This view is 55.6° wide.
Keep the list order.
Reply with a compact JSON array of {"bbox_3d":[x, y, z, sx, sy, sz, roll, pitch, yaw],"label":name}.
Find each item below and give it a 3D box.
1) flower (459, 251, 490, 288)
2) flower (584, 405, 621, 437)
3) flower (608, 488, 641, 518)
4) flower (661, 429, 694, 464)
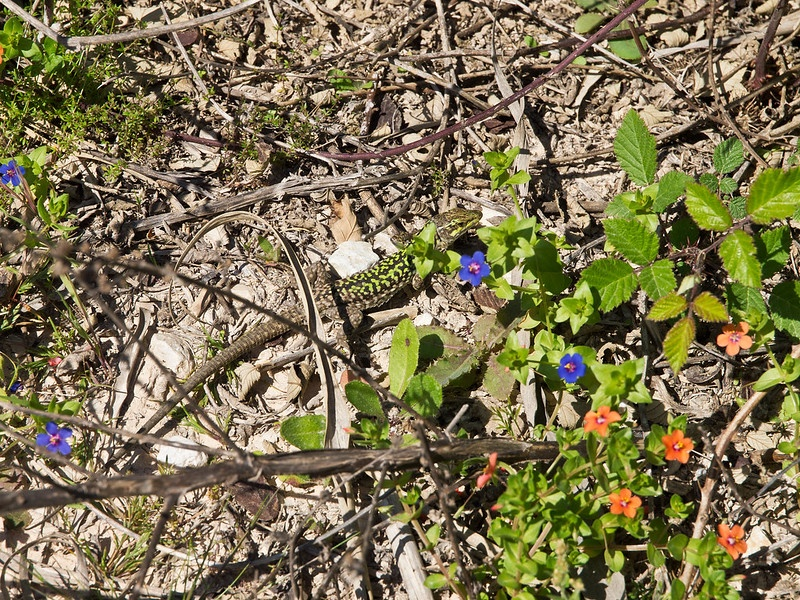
[{"bbox_3d":[0.468,-0.188,4.757,0.239,0.054,0.274,-6,-89,10],"label":"flower"},{"bbox_3d":[1.139,0.698,4.305,0.185,0.184,0.242,-6,-60,6],"label":"flower"},{"bbox_3d":[1.285,1.159,4.332,0.167,0.120,0.138,-8,-60,7],"label":"flower"},{"bbox_3d":[1.551,0.818,4.259,0.171,0.199,0.058,-18,-18,-7],"label":"flower"}]
